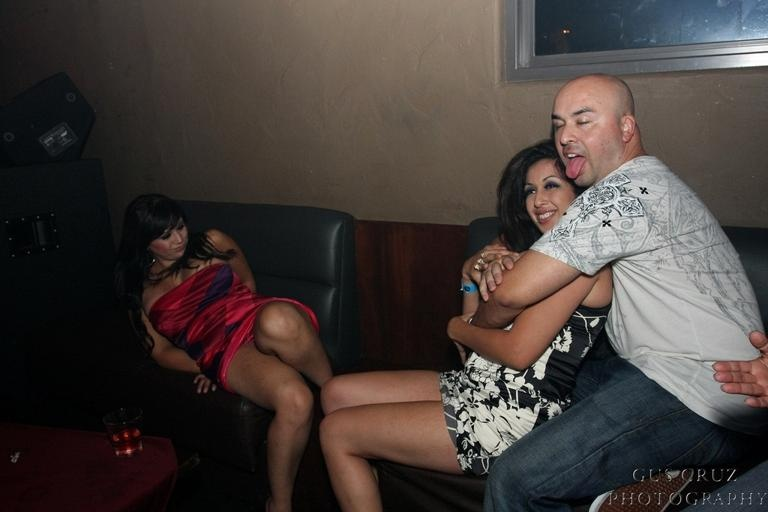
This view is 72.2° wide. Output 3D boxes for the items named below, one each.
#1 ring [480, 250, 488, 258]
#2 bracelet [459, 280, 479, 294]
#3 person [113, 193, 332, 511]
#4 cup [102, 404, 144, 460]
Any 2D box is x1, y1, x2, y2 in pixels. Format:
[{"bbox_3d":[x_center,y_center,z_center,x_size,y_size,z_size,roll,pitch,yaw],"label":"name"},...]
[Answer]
[{"bbox_3d":[0.409,-0.010,2.154,0.021,0.007,0.022,-6,30,3],"label":"ring"},{"bbox_3d":[0.351,0.128,2.197,0.049,0.039,0.052,2,0,-10],"label":"bracelet"},{"bbox_3d":[-0.740,0.358,2.499,1.051,1.283,0.491,8,17,37],"label":"person"},{"bbox_3d":[-0.996,0.647,2.001,0.138,0.163,0.148,-2,16,0],"label":"cup"}]
